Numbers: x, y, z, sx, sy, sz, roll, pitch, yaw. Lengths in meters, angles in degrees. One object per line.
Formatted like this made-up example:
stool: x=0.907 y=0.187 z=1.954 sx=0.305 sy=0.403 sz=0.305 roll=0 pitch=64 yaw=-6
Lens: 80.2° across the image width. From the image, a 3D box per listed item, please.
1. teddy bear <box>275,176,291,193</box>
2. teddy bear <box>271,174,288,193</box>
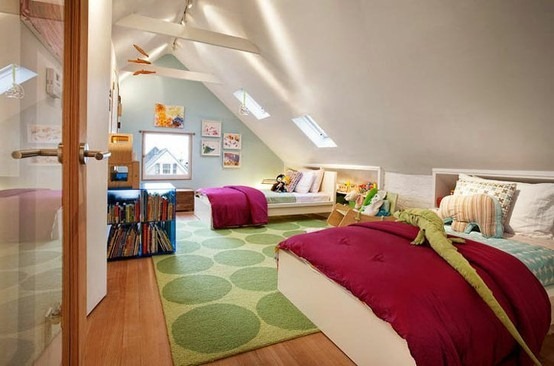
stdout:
teddy bear: x=0.113 y=0.005 z=6.319 sx=0.271 sy=0.132 sz=0.286 roll=11 pitch=47 yaw=-10
teddy bear: x=0.029 y=0.027 z=6.338 sx=0.240 sy=0.338 sz=0.354 roll=9 pitch=-11 yaw=-37
